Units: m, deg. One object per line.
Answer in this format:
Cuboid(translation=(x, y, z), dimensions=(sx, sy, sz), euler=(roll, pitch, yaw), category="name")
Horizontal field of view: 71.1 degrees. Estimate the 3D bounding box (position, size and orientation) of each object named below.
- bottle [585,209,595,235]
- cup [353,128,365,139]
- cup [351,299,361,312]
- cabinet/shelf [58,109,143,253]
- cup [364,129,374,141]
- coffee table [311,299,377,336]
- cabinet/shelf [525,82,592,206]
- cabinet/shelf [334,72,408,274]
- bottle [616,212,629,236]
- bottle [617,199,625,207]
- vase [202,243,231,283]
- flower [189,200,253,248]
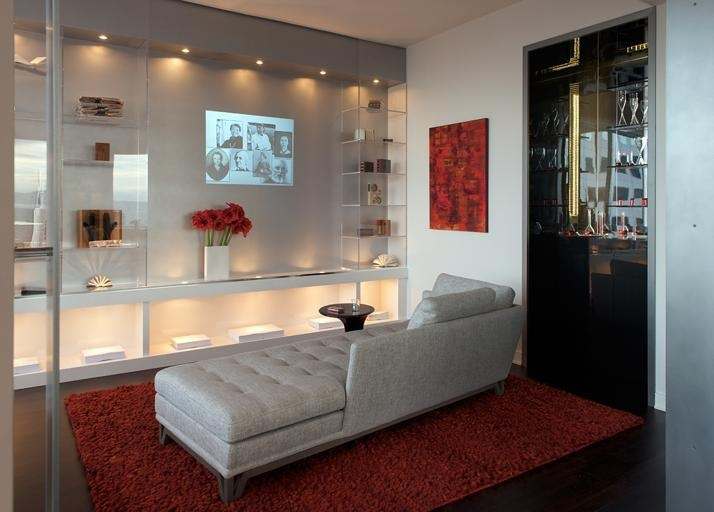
Cuboid(translation=(1.931, -0.283, 4.141), dimensions=(0.016, 0.225, 0.094), euler=(-4, 9, -30), category="bottle")
Cuboid(translation=(0.027, -1.446, 5.883), dimensions=(0.118, 0.176, 0.120), euler=(1, 9, 0), category="cup")
Cuboid(translation=(-0.021, 0.465, 4.741), dimensions=(0.065, 0.114, 0.111), euler=(1, 0, -2), category="cup")
Cuboid(translation=(-2.232, -0.568, 4.584), dimensions=(0.575, 1.037, 0.353), euler=(-1, -13, -7), category="cabinet/shelf")
Cuboid(translation=(0.144, -1.457, 5.991), dimensions=(0.099, 0.157, 0.256), euler=(1, 9, 7), category="cup")
Cuboid(translation=(-0.103, 0.533, 4.666), dimensions=(0.375, 0.267, 0.360), euler=(-5, 6, -39), category="coffee table")
Cuboid(translation=(1.719, -1.055, 4.522), dimensions=(0.609, 1.250, 0.612), euler=(2, -6, 4), category="cabinet/shelf")
Cuboid(translation=(0.250, -0.815, 6.219), dimensions=(0.669, 1.976, 0.250), euler=(-1, -6, 7), category="cabinet/shelf")
Cuboid(translation=(2.090, -0.243, 3.933), dimensions=(0.019, 0.191, 0.100), euler=(-4, 9, -31), category="bottle")
Cuboid(translation=(2.081, -0.424, 3.971), dimensions=(0.037, 0.069, 0.070), euler=(-3, 6, -34), category="bottle")
Cuboid(translation=(-1.497, 0.131, 5.112), dimensions=(0.325, 0.433, 0.222), euler=(1, 29, -10), category="vase")
Cuboid(translation=(-1.371, -0.322, 5.070), dimensions=(0.477, 0.430, 0.453), euler=(2, 1, -11), category="flower")
